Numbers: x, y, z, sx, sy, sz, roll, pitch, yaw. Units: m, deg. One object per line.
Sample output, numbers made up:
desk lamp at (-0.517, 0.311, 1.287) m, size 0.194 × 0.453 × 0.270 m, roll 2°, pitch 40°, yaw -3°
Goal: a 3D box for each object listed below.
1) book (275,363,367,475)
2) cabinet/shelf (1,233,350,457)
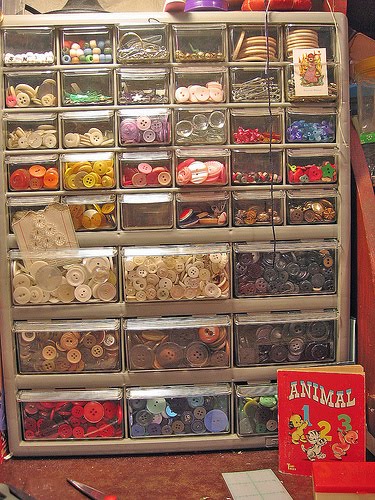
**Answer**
book at (0.419, 0.543, 1.502) m, size 0.263 × 0.308 × 0.115 m, roll -1°, pitch 13°, yaw 11°
cabinet/shelf at (-0.088, 0.324, 1.627) m, size 0.902 × 0.456 × 0.266 m, roll -1°, pitch 0°, yaw -1°
